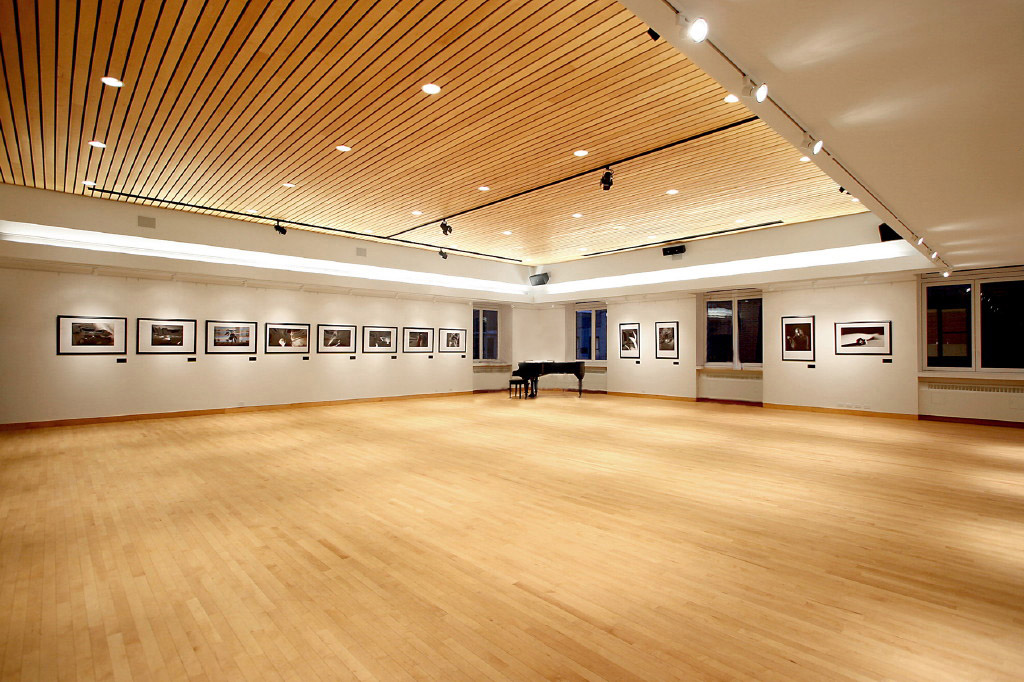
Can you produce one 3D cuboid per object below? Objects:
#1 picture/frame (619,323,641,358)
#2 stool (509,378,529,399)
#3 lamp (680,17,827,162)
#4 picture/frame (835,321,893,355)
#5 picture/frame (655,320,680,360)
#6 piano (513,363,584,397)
[{"bbox_3d":[3.430,0.013,17.250,0.174,1.035,0.754,-2,4,-31],"label":"picture/frame"},{"bbox_3d":[0.198,1.442,17.633,0.518,0.364,0.788,-1,1,-6],"label":"stool"},{"bbox_3d":[2.476,-2.614,6.092,2.297,0.186,0.234,29,8,-26],"label":"lamp"},{"bbox_3d":[7.803,-0.063,13.034,0.028,0.564,0.791,5,-5,-43],"label":"picture/frame"},{"bbox_3d":[4.269,-0.014,16.372,0.150,1.041,0.797,-3,5,-36],"label":"picture/frame"},{"bbox_3d":[1.064,1.093,17.566,1.847,1.041,2.054,0,3,3],"label":"piano"}]
